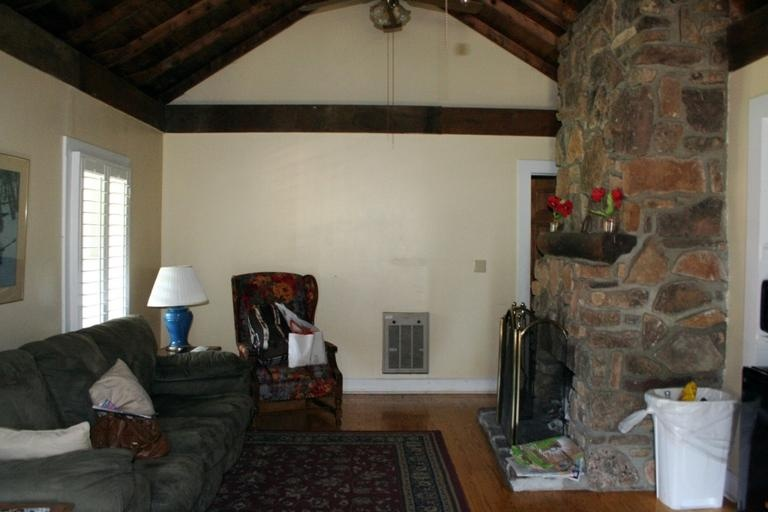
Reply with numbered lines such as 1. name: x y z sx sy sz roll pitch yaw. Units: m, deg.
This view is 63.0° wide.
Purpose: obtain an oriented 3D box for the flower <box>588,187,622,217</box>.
1. flower: 1.677 -0.415 4.796 0.126 0.235 0.288 -2 1 -41

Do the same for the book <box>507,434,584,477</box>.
1. book: 1.241 1.574 4.881 0.554 0.216 0.358 -2 1 -3

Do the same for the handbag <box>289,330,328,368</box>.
1. handbag: -0.668 0.817 5.498 0.312 0.287 0.122 -1 -5 -31

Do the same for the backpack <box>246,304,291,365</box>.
1. backpack: -1.024 0.697 5.599 0.372 0.504 0.189 4 -31 -35

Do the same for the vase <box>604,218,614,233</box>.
1. vase: 1.685 -0.231 4.668 0.090 0.103 0.063 -1 1 16

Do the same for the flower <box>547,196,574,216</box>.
1. flower: 1.493 -0.433 5.243 0.185 0.192 0.087 8 -4 26
